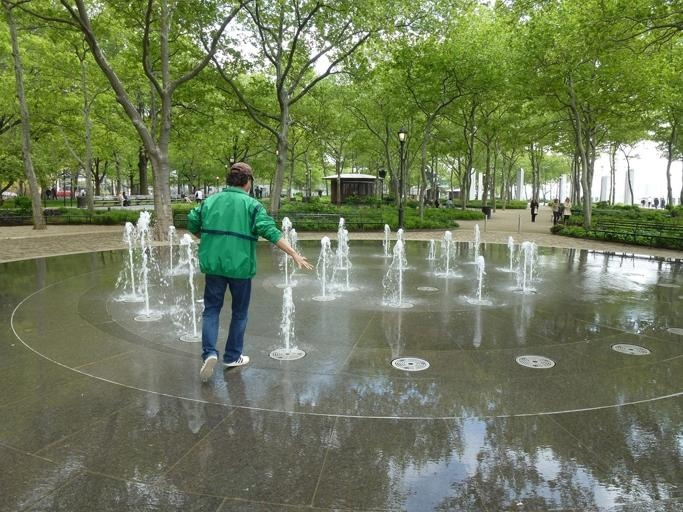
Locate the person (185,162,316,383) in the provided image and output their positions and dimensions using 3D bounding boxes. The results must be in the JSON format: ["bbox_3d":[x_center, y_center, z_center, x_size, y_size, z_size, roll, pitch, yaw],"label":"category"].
[{"bbox_3d":[-1.333,0.164,7.117,1.122,2.657,0.965,-4,13,-16],"label":"person"}]

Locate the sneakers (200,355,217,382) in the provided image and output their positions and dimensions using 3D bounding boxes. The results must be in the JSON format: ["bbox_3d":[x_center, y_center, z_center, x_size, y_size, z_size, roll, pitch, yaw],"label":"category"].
[{"bbox_3d":[-1.654,1.401,7.037,0.168,0.398,0.165,13,22,-21],"label":"sneakers"}]

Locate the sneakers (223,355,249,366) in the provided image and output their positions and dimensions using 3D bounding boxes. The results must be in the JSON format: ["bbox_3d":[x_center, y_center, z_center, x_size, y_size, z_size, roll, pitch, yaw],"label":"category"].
[{"bbox_3d":[-1.382,1.407,7.437,0.122,0.154,0.343,9,14,40],"label":"sneakers"}]
